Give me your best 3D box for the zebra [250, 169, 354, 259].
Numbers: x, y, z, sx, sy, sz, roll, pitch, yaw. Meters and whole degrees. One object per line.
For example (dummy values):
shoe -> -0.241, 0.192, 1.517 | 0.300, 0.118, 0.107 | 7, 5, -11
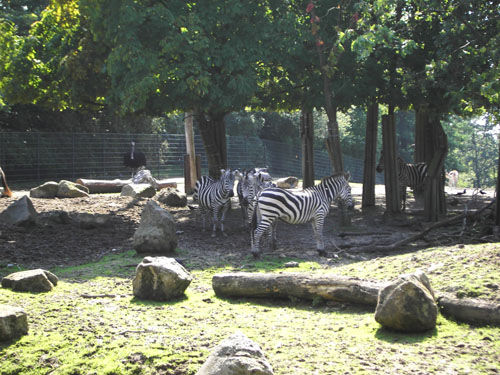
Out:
zebra -> 1.294, 0.634, 15.483 | 2.520, 2.086, 0.784 | -1, 8, -11

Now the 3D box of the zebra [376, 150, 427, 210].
zebra -> 5.182, -0.196, 21.312 | 2.113, 1.851, 0.640 | 5, -5, -2

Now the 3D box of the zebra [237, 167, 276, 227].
zebra -> 0.063, 0.150, 17.726 | 0.621, 1.587, 2.280 | -4, 7, -25
